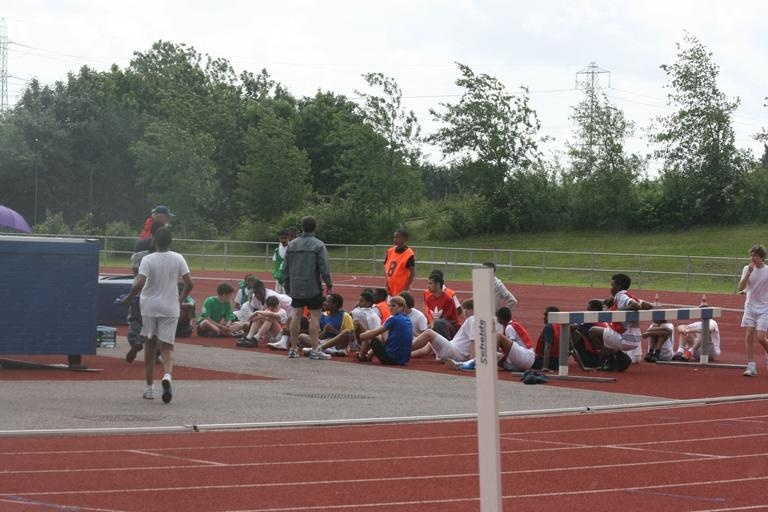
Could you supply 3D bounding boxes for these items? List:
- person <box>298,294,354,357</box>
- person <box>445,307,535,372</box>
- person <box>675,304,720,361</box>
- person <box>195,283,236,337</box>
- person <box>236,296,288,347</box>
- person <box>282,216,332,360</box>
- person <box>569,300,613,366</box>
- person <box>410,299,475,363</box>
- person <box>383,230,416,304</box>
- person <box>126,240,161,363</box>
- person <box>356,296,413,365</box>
[{"bbox_3d":[-1.357,1.485,26.418,1.194,1.344,1.110,-1,0,-16],"label":"person"},{"bbox_3d":[2.088,1.758,24.652,1.935,1.340,1.112,1,-7,8],"label":"person"},{"bbox_3d":[6.980,1.696,26.694,1.116,1.157,0.784,5,-3,-22],"label":"person"},{"bbox_3d":[-4.004,1.253,28.112,0.782,1.341,0.747,0,-1,13],"label":"person"},{"bbox_3d":[-2.715,1.491,27.097,1.439,1.243,0.830,2,1,-21],"label":"person"},{"bbox_3d":[-1.582,0.635,25.597,1.112,2.819,1.224,0,0,32],"label":"person"},{"bbox_3d":[4.409,1.663,25.498,0.839,1.367,0.817,1,-1,18],"label":"person"},{"bbox_3d":[1.145,1.591,25.668,1.947,1.269,0.875,1,-6,-4],"label":"person"},{"bbox_3d":[0.276,0.467,26.834,0.813,2.106,0.487,11,9,44],"label":"person"},{"bbox_3d":[-5.128,0.897,24.365,0.882,2.450,0.929,1,-1,-16],"label":"person"},{"bbox_3d":[-0.055,1.587,25.673,1.428,1.357,0.985,2,-2,24],"label":"person"}]
